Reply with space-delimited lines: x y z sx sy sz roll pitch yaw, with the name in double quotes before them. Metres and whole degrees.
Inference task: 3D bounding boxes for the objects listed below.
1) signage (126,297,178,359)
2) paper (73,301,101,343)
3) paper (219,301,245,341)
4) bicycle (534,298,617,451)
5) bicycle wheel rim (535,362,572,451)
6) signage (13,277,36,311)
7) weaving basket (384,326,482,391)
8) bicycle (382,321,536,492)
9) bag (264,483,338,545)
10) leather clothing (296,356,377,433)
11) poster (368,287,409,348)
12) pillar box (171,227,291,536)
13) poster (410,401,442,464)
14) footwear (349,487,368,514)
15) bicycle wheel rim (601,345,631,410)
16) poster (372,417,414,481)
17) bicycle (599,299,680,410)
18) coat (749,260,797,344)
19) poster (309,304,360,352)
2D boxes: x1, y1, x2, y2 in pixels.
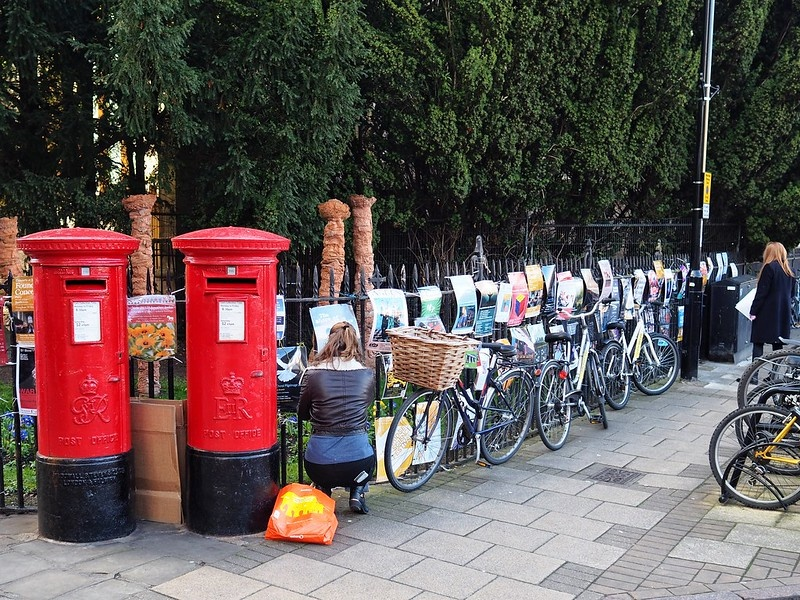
"signage" -2.339 0.249 7.746 0.449 0.681 0.063 -1 22 -18
"paper" -2.728 0.187 7.119 0.300 0.494 0.046 -1 1 -20
"paper" -1.492 0.182 7.237 0.289 0.469 0.048 -1 2 -4
"bicycle" 2.088 0.978 10.101 0.843 1.217 1.797 -1 7 29
"bicycle wheel rim" 1.809 1.214 9.651 0.298 0.996 0.834 6 11 30
"signage" -3.470 -0.071 7.590 0.261 0.380 0.040 2 20 -3
"weaving basket" 0.248 0.597 8.223 0.747 0.527 0.657 8 -1 27
"bicycle" 0.755 1.096 8.789 2.372 1.630 0.639 -2 15 -45
"bag" -0.869 1.889 7.445 0.634 0.216 0.723 -3 32 0
"leather clothing" -0.554 0.811 7.805 0.891 0.940 0.563 0 9 -3
"poster" -0.116 0.186 8.540 0.529 0.754 0.051 -3 4 -42
"pillar box" -1.483 0.742 7.360 0.874 2.635 0.530 -2 9 -16
"poster" 0.244 1.316 8.333 0.171 0.591 0.536 14 15 35
"footwear" -0.397 1.897 7.774 0.109 0.239 0.310 1 -1 8
"bicycle wheel rim" 2.926 1.029 11.201 0.229 0.833 0.755 1 5 31
"poster" -0.071 1.446 8.114 0.067 0.730 0.607 1 1 38
"bicycle" 3.207 0.872 11.875 0.871 1.232 1.834 2 10 37
"coat" 5.457 0.051 12.111 0.523 1.240 0.510 8 12 37
"poster" -0.811 0.257 8.134 0.536 0.592 0.024 -6 49 -45
